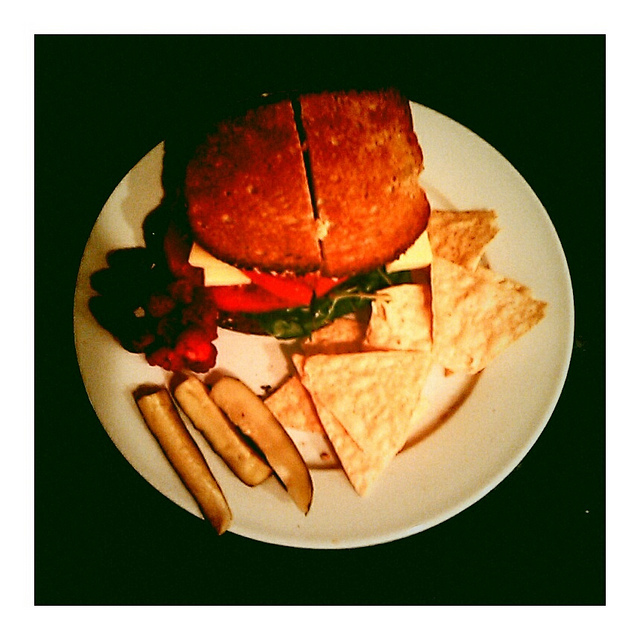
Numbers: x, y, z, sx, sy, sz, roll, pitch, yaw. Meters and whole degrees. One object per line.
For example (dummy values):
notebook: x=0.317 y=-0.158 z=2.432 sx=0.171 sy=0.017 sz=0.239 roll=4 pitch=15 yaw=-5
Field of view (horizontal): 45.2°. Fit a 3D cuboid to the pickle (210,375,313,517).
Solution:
pickle: x=-0.158 y=0.348 z=2.274 sx=0.121 sy=0.082 sz=0.465 roll=-38 pitch=96 yaw=-7
